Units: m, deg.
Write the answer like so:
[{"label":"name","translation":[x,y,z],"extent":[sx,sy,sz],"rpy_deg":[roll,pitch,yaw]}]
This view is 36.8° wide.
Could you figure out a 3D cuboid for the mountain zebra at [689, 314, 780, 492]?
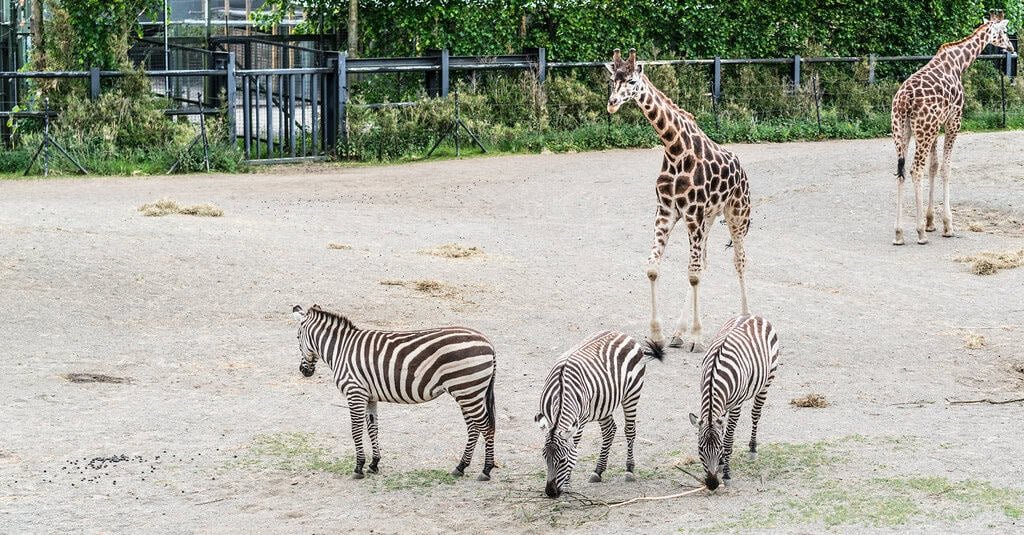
[{"label":"mountain zebra","translation":[4.331,2.637,30.083],"extent":[0.730,3.162,1.829],"rpy_deg":[6,11,44]}]

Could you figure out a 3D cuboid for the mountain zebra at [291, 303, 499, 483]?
[{"label":"mountain zebra","translation":[-2.299,2.518,30.599],"extent":[4.387,3.393,1.368],"rpy_deg":[1,0,12]}]
